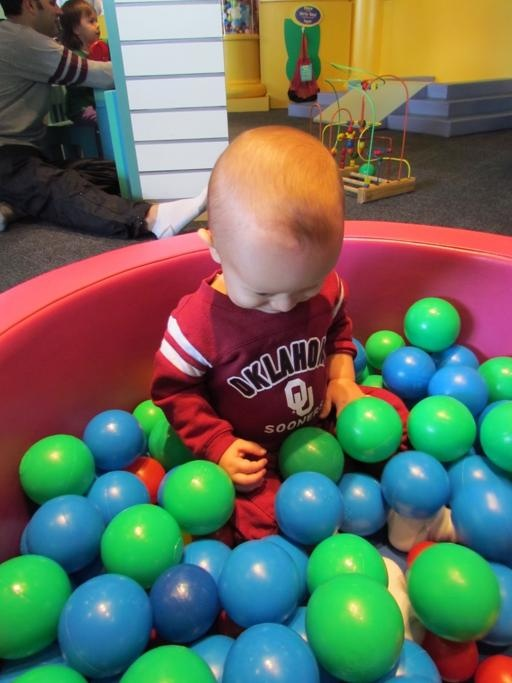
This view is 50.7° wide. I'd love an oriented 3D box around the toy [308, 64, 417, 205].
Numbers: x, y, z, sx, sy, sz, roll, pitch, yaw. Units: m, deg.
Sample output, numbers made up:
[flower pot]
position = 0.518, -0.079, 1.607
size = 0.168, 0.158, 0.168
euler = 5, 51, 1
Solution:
[toy]
position = 0.647, -1.298, 3.347
size = 0.579, 0.629, 0.410
euler = -3, 20, -21
